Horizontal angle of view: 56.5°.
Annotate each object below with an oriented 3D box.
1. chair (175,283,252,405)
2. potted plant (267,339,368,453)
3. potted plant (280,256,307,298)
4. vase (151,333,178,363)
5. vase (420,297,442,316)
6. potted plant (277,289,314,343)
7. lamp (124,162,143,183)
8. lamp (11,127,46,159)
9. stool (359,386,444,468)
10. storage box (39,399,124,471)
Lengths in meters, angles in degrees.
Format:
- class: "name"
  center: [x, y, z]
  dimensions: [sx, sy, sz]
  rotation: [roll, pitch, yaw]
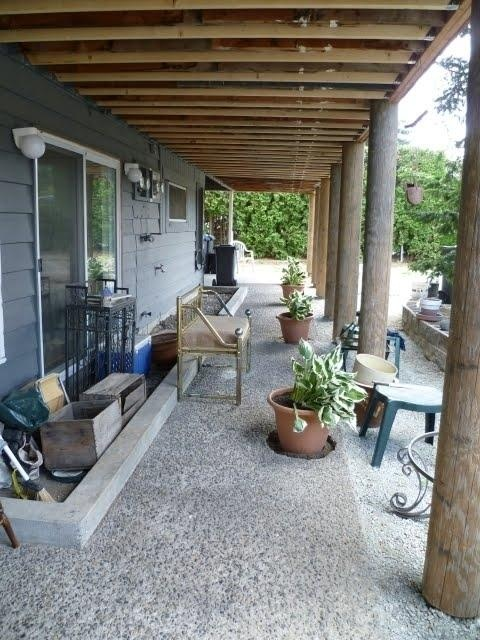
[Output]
- class: "chair"
  center: [-0.198, 0.162, 3.713]
  dimensions: [0.471, 0.800, 1.190]
  rotation: [2, 9, 2]
- class: "potted plant"
  center: [0.399, 0.455, 2.517]
  dimensions: [0.480, 0.635, 0.590]
  rotation: [0, 8, -14]
- class: "potted plant"
  center: [0.843, -0.615, 7.253]
  dimensions: [0.376, 0.563, 0.331]
  rotation: [0, 5, -36]
- class: "vase"
  center: [-0.740, 0.292, 4.436]
  dimensions: [0.306, 0.248, 0.313]
  rotation: [2, 7, 36]
- class: "vase"
  center: [2.307, -0.153, 5.422]
  dimensions: [0.203, 0.177, 0.206]
  rotation: [1, 4, 4]
- class: "potted plant"
  center: [0.648, -0.026, 5.277]
  dimensions: [0.402, 0.602, 0.465]
  rotation: [3, 8, 9]
- class: "lamp"
  center: [-1.112, -1.514, 4.596]
  dimensions: [0.183, 0.282, 0.186]
  rotation: [4, 14, 8]
- class: "lamp"
  center: [-1.235, -1.040, 2.655]
  dimensions: [0.186, 0.150, 0.183]
  rotation: [33, 42, 12]
- class: "stool"
  center: [0.923, 0.588, 2.607]
  dimensions: [0.428, 0.396, 0.577]
  rotation: [4, 8, 17]
- class: "storage box"
  center: [-0.797, 0.467, 2.202]
  dimensions: [0.240, 0.219, 0.437]
  rotation: [4, 7, 3]
